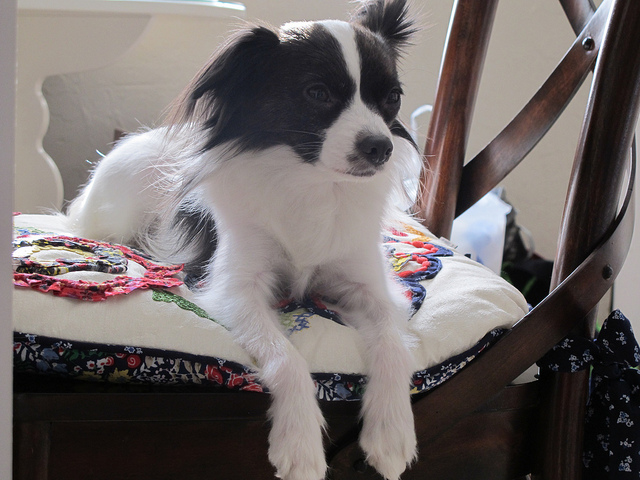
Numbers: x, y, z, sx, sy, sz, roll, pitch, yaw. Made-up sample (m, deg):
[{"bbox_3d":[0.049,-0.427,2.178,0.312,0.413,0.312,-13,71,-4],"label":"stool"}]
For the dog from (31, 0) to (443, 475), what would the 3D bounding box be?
[{"bbox_3d":[-0.382,-0.252,2.450,0.863,1.111,1.722,-1,16,-23],"label":"dog"}]
